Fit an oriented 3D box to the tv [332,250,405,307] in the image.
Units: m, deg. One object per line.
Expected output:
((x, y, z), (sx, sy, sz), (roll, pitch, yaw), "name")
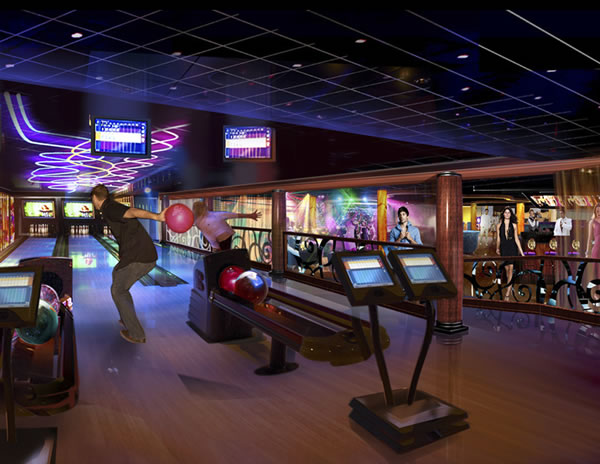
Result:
((0.446, 0.296, 2.405), (0.422, 0.348, 0.236), (0, -1, -22), "tv")

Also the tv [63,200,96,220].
((-18.323, -1.902, 30.575), (3.110, 1.929, 0.462), (-1, 7, -21), "tv")

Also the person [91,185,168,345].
((-1.630, 0.330, 3.681), (0.784, 1.581, 0.375), (-1, -1, 21), "person")

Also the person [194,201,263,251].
((-1.415, -0.077, 6.750), (0.914, 0.812, 1.503), (0, -2, -13), "person")

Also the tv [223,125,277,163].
((-0.905, -1.550, 6.479), (1.147, 0.678, 0.575), (0, -2, -3), "tv")

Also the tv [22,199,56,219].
((-20.773, -1.873, 29.371), (1.826, 1.162, 0.251), (-1, 2, -35), "tv")
